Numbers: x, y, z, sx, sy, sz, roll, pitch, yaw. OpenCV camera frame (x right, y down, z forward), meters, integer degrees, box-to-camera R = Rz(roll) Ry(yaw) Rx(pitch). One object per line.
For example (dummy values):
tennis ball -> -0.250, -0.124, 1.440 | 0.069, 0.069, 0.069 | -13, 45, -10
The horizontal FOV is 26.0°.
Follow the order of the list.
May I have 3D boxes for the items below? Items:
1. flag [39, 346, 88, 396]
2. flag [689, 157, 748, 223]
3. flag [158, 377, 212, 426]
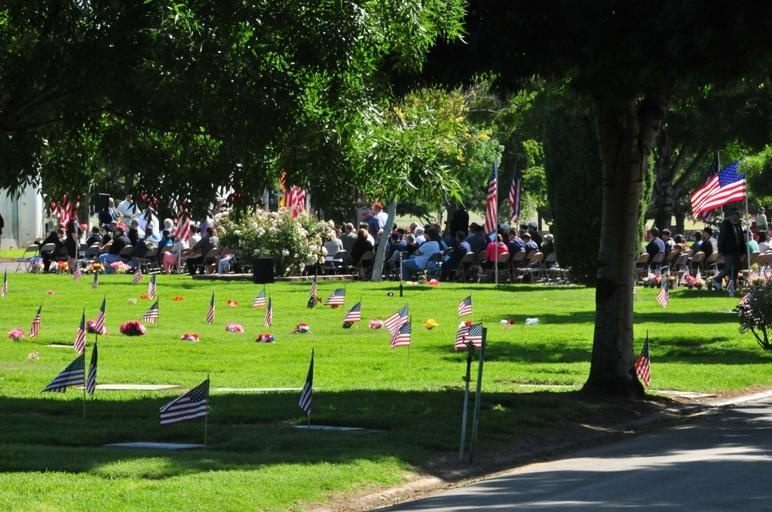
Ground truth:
flag -> -5.284, 1.926, 27.579 | 0.737, 0.743, 0.081 | -10, 20, -8
flag -> 9.063, -1.905, 45.879 | 1.364, 1.570, 2.677 | 0, -4, 10
flag -> -3.029, 2.235, 25.364 | 0.745, 0.689, 0.088 | -10, 9, -4
